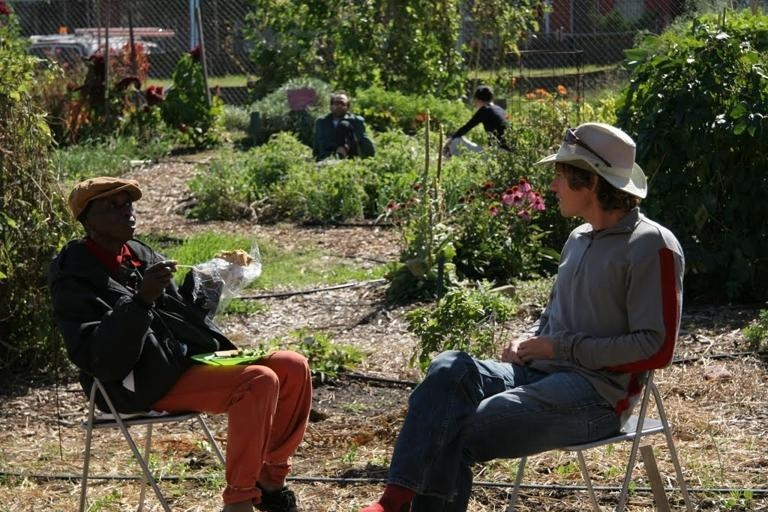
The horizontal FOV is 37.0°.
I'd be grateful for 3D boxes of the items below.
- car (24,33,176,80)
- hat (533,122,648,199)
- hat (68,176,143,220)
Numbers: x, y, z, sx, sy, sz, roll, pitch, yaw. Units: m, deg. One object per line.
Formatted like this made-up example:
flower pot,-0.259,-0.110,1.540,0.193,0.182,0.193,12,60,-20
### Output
car,-4.713,-3.424,19.498,2.324,0.805,5.440,-4,9,-11
hat,1.559,-0.616,8.224,0.569,0.280,0.525,23,12,9
hat,-2.059,-0.467,8.425,0.390,0.152,0.346,-17,-15,-12
